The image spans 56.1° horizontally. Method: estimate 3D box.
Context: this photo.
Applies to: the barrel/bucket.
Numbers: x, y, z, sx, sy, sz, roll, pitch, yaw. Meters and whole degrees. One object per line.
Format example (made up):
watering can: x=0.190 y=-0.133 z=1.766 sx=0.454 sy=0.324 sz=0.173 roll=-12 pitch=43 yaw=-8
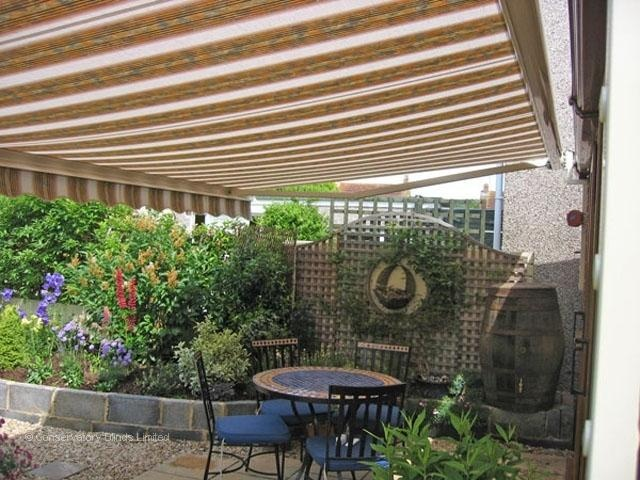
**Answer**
barrel/bucket: x=2.632 y=1.408 z=7.862 sx=1.043 sy=1.663 sz=0.429 roll=0 pitch=-6 yaw=16
